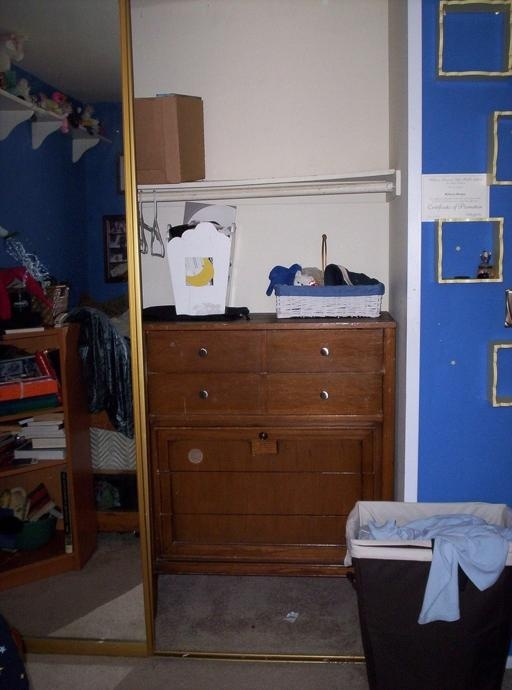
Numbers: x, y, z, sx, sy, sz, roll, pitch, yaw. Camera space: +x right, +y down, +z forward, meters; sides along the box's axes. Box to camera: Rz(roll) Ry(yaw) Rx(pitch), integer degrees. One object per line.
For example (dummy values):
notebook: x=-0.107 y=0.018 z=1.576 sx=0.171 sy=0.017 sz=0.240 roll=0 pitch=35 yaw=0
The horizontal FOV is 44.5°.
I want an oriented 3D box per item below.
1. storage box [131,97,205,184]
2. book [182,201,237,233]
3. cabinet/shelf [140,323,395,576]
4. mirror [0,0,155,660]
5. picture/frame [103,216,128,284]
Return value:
storage box: x=-0.319 y=-0.776 z=2.380 sx=0.185 sy=0.287 sz=0.324 roll=4 pitch=16 yaw=14
book: x=-0.189 y=-0.521 z=2.469 sx=0.217 sy=0.085 sz=0.133 roll=2 pitch=15 yaw=4
cabinet/shelf: x=0.072 y=0.361 z=2.322 sx=0.907 sy=0.911 sz=0.349 roll=-2 pitch=-2 yaw=11
mirror: x=-0.455 y=-0.005 z=1.956 sx=0.400 sy=2.026 sz=0.525 roll=7 pitch=16 yaw=23
picture/frame: x=-0.476 y=-0.370 z=2.126 sx=0.073 sy=0.171 sz=0.019 roll=-3 pitch=-1 yaw=-38
